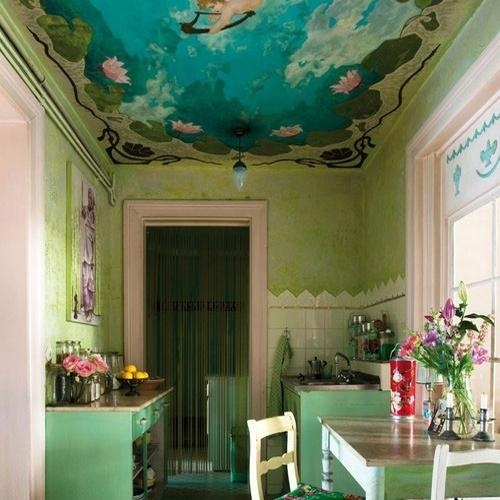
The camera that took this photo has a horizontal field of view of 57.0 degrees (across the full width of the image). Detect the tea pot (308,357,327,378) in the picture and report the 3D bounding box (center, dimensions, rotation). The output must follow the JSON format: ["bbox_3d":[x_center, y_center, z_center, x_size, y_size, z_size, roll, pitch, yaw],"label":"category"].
[{"bbox_3d":[0.608,1.075,4.190,0.179,0.184,0.214,-3,-10,8],"label":"tea pot"}]

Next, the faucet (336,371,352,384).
[{"bbox_3d":[0.801,1.056,3.884,0.121,0.097,0.528,-3,-11,12],"label":"faucet"}]

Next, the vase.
[{"bbox_3d":[0.819,0.653,1.836,0.184,0.289,0.203,3,-41,27],"label":"vase"}]

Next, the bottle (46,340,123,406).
[{"bbox_3d":[-1.074,0.743,2.824,0.461,0.366,0.279,-5,-8,32],"label":"bottle"}]

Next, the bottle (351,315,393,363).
[{"bbox_3d":[0.957,0.702,3.601,0.126,0.272,0.423,3,-9,-5],"label":"bottle"}]
